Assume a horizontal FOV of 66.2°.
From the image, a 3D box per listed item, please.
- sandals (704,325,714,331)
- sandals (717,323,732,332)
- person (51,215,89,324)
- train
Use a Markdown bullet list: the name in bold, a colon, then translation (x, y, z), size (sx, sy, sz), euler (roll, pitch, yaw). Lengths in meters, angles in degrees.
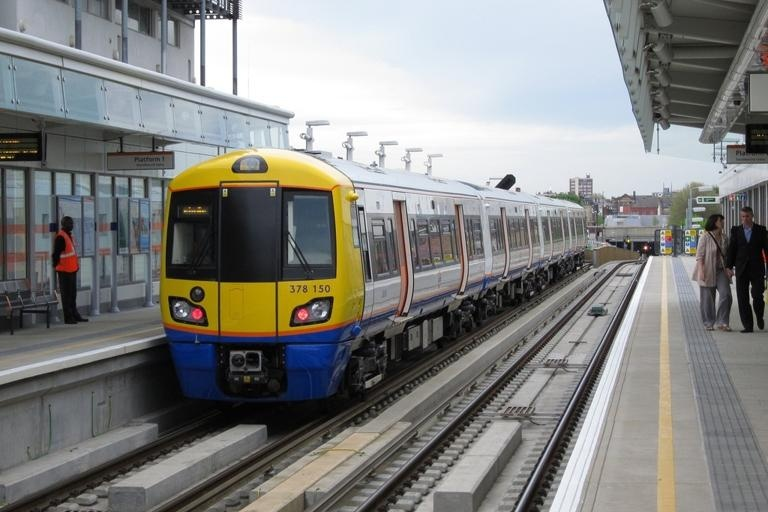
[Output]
- **sandals**: translation (8.004, 1.779, 14.475), size (0.093, 0.128, 0.292), euler (-1, -6, 6)
- **sandals**: translation (8.063, 1.720, 14.023), size (0.126, 0.157, 0.364), euler (-9, 4, -38)
- **person**: translation (-6.597, 0.297, 12.239), size (0.416, 2.301, 0.562), euler (0, 0, 2)
- **train**: translation (1.745, 0.155, 18.315), size (3.434, 3.553, 20.712), euler (-2, 0, 19)
